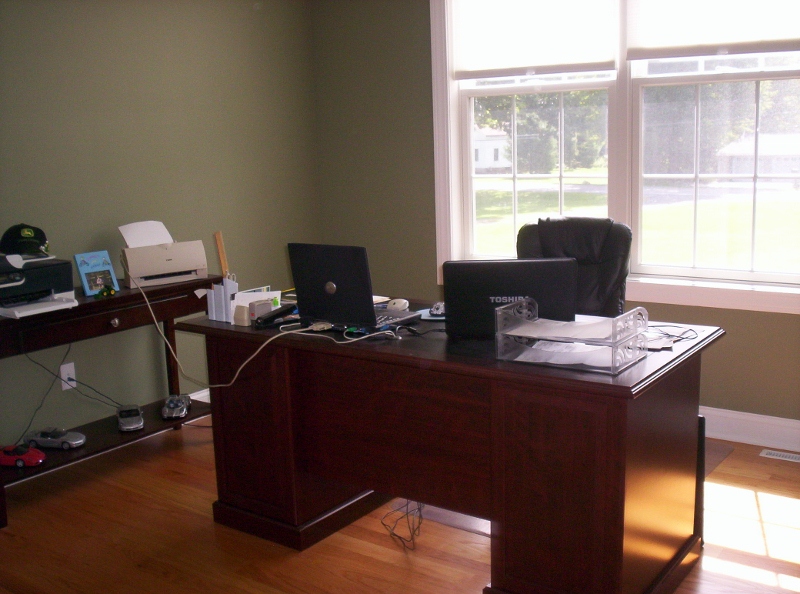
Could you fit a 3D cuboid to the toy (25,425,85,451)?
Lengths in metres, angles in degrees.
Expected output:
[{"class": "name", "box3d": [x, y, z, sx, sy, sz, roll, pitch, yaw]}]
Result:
[{"class": "toy", "box3d": [-1.995, 0.818, 3.660, 0.252, 0.076, 0.136, 3, 9, 5]}]

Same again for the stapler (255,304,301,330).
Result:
[{"class": "stapler", "box3d": [-0.582, 0.075, 3.060, 0.300, 0.105, 0.088, -13, 19, -37]}]

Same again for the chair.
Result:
[{"class": "chair", "box3d": [1.080, -0.163, 3.743, 0.582, 0.793, 0.616, 3, 5, 34]}]

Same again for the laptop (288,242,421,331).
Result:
[{"class": "laptop", "box3d": [-0.235, -0.077, 2.876, 0.389, 0.357, 0.423, 5, 5, 33]}]

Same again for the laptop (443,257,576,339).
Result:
[{"class": "laptop", "box3d": [0.436, 0.017, 2.583, 0.539, 0.352, 0.070, 1, 16, 15]}]

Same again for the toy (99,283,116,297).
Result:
[{"class": "toy", "box3d": [-1.744, -0.046, 3.708, 0.082, 0.055, 0.083, 1, 12, 13]}]
